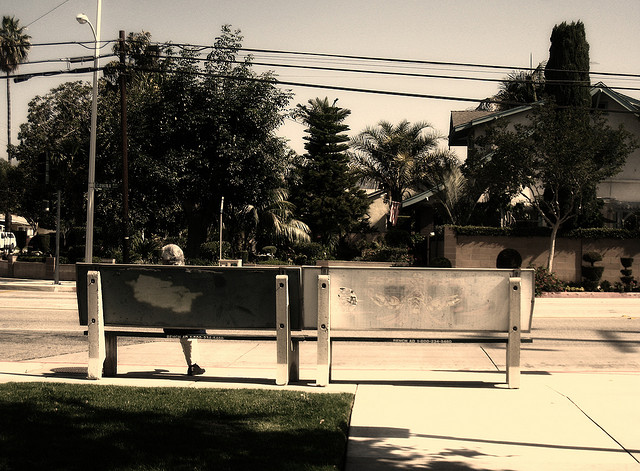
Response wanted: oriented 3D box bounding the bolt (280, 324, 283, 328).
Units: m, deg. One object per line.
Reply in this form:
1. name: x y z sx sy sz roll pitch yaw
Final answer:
1. bolt: -0.733 1.699 16.535 0.056 0.064 0.014 6 2 -1

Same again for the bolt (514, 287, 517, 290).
1. bolt: 3.707 0.978 16.450 0.046 0.048 0.010 1 6 4

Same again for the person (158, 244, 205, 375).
1. person: -2.800 1.507 17.550 0.783 2.727 0.719 -4 -11 -12

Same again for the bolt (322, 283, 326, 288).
1. bolt: 0.072 0.928 16.508 0.063 0.084 0.012 2 6 13

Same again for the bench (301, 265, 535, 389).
1. bench: 1.853 1.758 16.645 4.338 2.330 0.475 1 6 1
